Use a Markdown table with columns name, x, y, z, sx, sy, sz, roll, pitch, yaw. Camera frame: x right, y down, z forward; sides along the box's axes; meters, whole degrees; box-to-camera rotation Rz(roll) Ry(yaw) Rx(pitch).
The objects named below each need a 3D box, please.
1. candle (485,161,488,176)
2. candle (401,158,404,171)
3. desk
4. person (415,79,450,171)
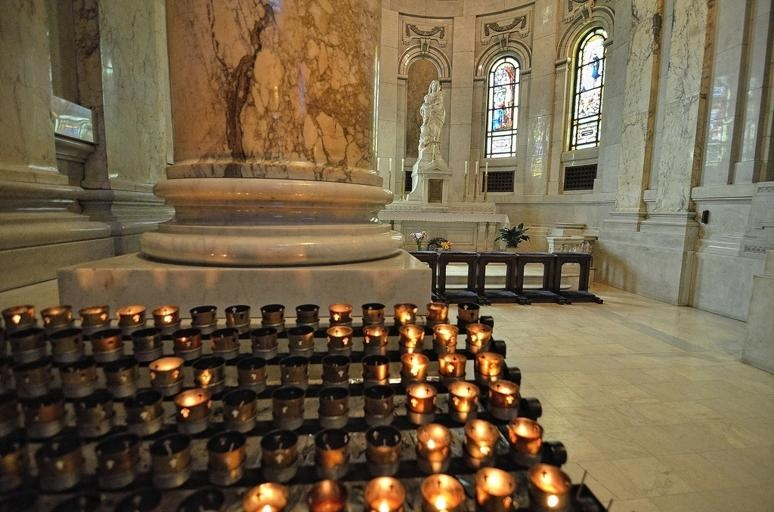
| name | x | y | z | sx | sy | sz | roll | pitch | yaw |
| --- | --- | --- | --- | --- | --- | --- | --- | --- | --- |
| candle | 3.196 | -2.863 | 16.177 | 0.118 | 0.406 | 0.342 | 3 | 10 | 11 |
| candle | 0.531 | -3.075 | 16.944 | 0.076 | 0.430 | 0.210 | 6 | 11 | 23 |
| desk | 2.014 | 0.300 | 8.499 | 2.853 | 0.776 | 1.420 | -1 | 10 | -11 |
| person | 1.174 | -3.463 | 13.329 | 0.808 | 2.454 | 1.257 | 2 | 10 | 3 |
